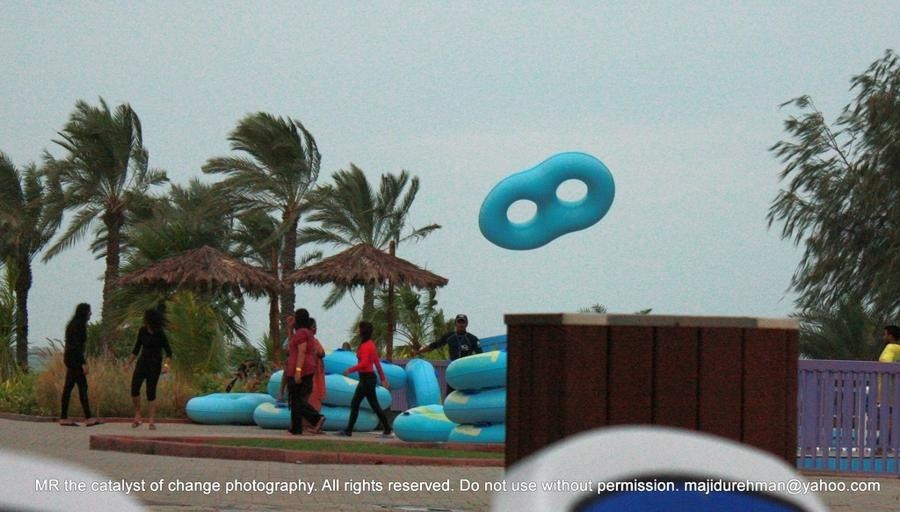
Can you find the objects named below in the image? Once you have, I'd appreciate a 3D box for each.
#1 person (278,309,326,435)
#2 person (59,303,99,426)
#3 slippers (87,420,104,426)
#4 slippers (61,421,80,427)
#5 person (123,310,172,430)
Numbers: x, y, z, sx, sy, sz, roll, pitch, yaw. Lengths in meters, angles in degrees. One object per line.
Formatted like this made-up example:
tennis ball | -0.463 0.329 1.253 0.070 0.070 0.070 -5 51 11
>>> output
person | -3.856 3.036 29.616 0.924 3.371 1.456 -6 4 -7
person | -9.965 2.953 30.892 1.050 3.291 0.919 -3 -4 28
slippers | -9.575 4.504 30.791 0.307 0.107 0.136 -5 4 -36
slippers | -10.319 4.571 31.039 0.399 0.142 0.205 -1 -2 -5
person | -7.926 2.928 29.994 1.022 3.094 1.030 0 -6 -5
